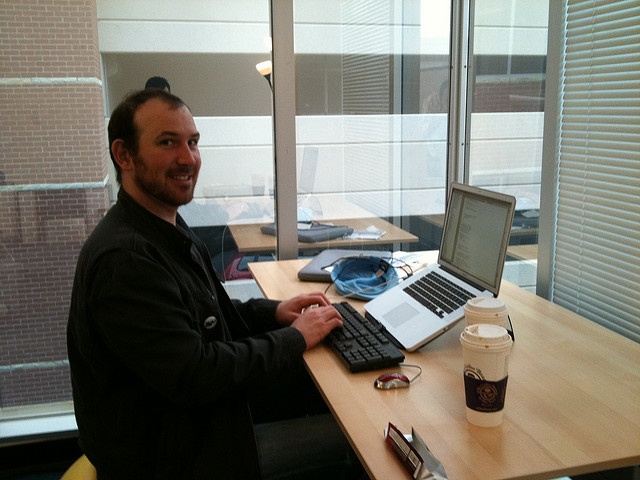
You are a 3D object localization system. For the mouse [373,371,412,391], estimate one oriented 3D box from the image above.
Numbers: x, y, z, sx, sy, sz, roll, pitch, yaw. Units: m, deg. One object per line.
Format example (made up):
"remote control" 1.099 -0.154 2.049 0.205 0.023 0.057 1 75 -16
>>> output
"mouse" 0.209 0.404 1.426 0.082 0.027 0.047 -5 7 -15

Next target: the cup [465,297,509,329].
"cup" 0.486 0.187 1.427 0.097 0.097 0.099 -5 17 1

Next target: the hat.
"hat" 0.195 0.166 2.166 0.226 0.082 0.198 -4 31 -8

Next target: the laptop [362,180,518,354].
"laptop" 0.406 0.065 1.748 0.514 0.370 0.352 -24 25 -16

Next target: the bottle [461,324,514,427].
"bottle" 0.423 0.353 1.247 0.118 0.238 0.081 0 16 19
